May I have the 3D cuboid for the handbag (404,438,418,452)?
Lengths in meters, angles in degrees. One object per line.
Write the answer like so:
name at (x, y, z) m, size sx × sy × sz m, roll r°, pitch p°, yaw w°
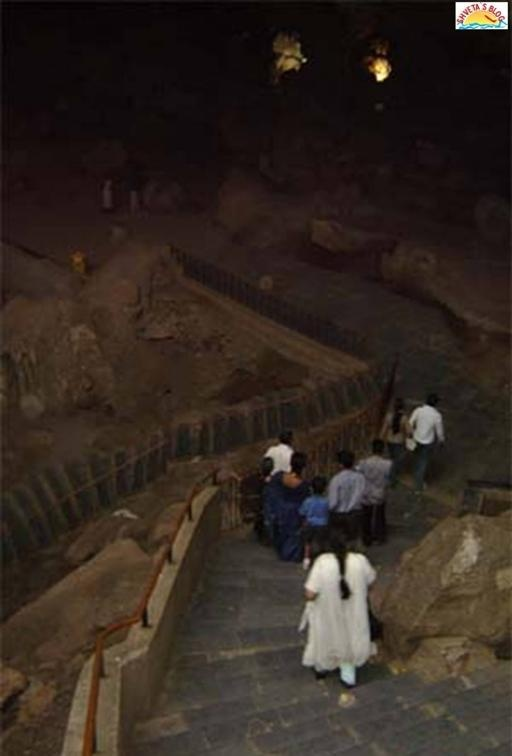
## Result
handbag at (1.369, 0.581, 5.027) m, size 0.095 × 0.122 × 0.181 m, roll 1°, pitch 6°, yaw 15°

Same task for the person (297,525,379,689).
person at (0.388, 1.084, 2.743) m, size 0.362 × 0.821 × 0.273 m, roll -2°, pitch 18°, yaw -1°
